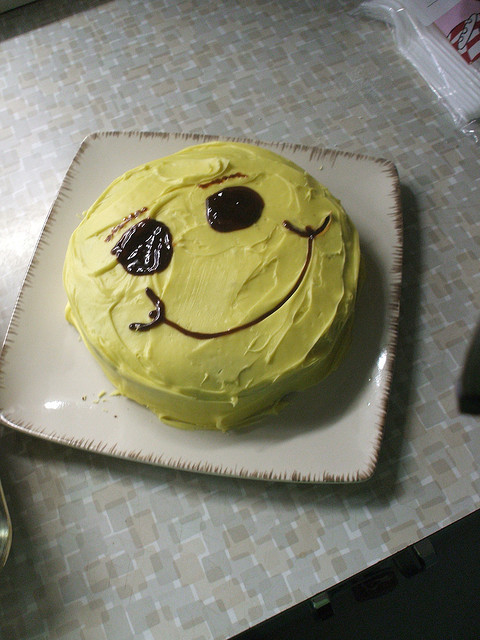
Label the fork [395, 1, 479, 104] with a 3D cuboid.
[{"bbox_3d":[0.433,-0.541,1.270,0.006,0.079,0.247,-40,78,9],"label":"fork"}]

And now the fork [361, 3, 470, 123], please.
[{"bbox_3d":[0.368,-0.521,1.291,0.398,0.070,0.056,42,102,15],"label":"fork"}]

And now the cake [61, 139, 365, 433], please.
[{"bbox_3d":[-0.046,-0.069,0.968,0.437,0.264,0.416,18,52,15],"label":"cake"}]
